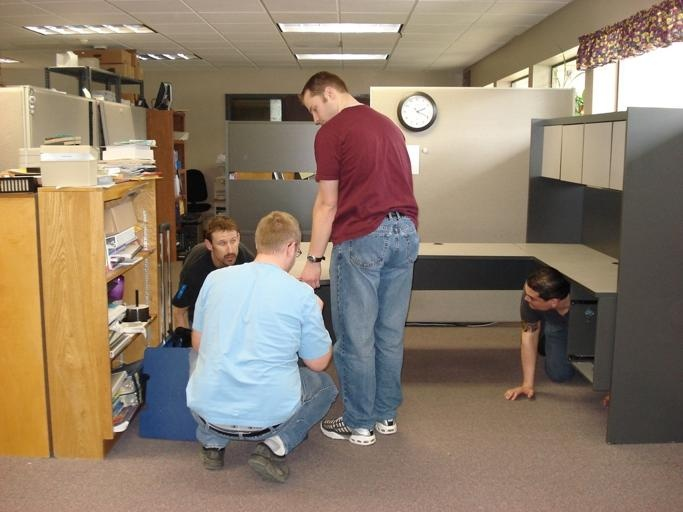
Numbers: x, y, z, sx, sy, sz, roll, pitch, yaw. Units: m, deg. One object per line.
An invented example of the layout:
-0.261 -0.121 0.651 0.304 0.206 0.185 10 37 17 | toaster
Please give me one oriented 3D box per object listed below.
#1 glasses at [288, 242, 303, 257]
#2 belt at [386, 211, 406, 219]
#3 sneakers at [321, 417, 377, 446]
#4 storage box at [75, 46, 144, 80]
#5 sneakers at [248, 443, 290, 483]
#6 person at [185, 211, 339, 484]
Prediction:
-0.240 -0.035 2.888 0.081 0.024 0.080 26 3 35 | glasses
0.300 -0.227 3.070 0.127 0.042 0.016 -8 17 -29 | belt
0.034 0.996 3.290 0.340 0.161 0.126 7 2 12 | sneakers
-3.452 -2.988 8.624 0.722 0.462 0.725 0 9 -5 | storage box
-0.347 1.048 2.859 0.128 0.257 0.176 -6 51 33 | sneakers
-0.377 0.482 2.753 0.751 1.361 0.356 -4 15 -17 | person
